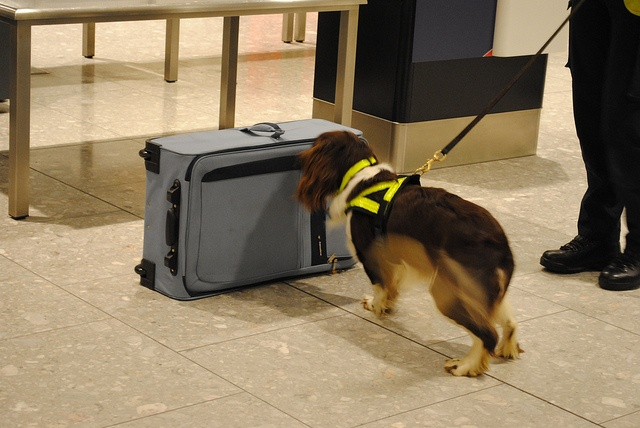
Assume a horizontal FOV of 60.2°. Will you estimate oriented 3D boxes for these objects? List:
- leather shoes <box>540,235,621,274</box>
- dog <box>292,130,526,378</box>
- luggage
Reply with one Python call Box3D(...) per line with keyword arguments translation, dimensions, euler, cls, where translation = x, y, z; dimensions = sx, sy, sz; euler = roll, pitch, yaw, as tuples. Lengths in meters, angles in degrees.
Box3D(translation=(1.459, 0.228, 3.104), dimensions=(0.573, 0.204, 0.178), euler=(1, 16, -11), cls="leather shoes")
Box3D(translation=(0.409, 0.116, 2.463), dimensions=(0.516, 0.699, 1.265), euler=(-19, 28, -24), cls="dog")
Box3D(translation=(-0.374, -0.047, 2.928), dimensions=(1.189, 0.706, 0.471), euler=(-9, 16, -44), cls="luggage")
